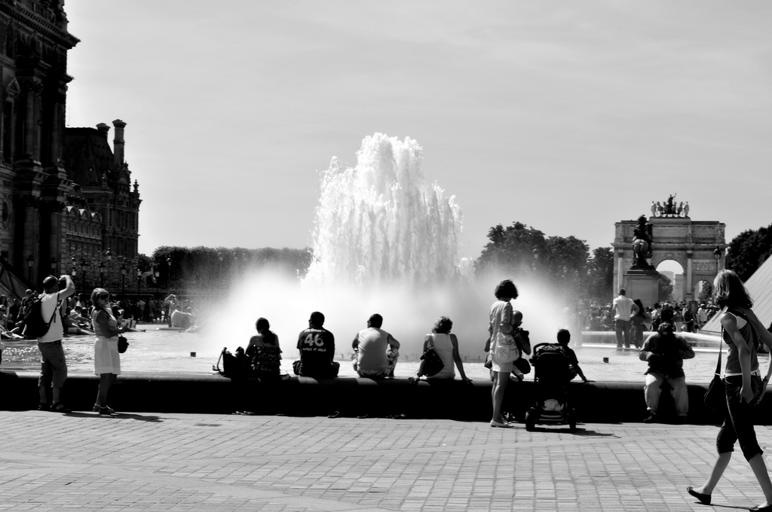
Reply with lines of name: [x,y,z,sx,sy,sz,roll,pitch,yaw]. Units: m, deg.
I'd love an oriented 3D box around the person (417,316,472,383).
person: [1.175,1.894,23.959,1.456,1.493,0.985,3,19,6]

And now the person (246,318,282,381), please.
person: [-2.171,1.608,20.748,0.611,1.042,0.774,0,1,-7]

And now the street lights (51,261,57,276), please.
street lights: [-18.617,0.686,66.265,0.380,0.790,1.091,0,1,-17]

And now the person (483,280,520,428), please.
person: [1.884,1.574,19.115,0.376,2.387,0.532,-1,2,-29]

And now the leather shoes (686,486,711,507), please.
leather shoes: [3.953,3.006,14.955,0.299,0.113,0.165,30,3,31]

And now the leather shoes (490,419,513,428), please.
leather shoes: [1.886,2.717,19.324,0.356,0.129,0.127,2,1,-19]

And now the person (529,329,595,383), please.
person: [2.869,1.565,19.164,1.088,0.729,0.829,11,8,6]

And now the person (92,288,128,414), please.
person: [-4.756,1.604,20.295,0.542,2.120,1.016,0,2,-13]

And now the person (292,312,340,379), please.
person: [-1.202,1.529,20.568,0.797,1.132,0.477,1,2,30]

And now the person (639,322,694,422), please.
person: [4.728,1.923,19.965,0.839,1.617,0.590,1,2,13]

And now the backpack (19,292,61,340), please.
backpack: [-5.967,1.041,20.480,0.621,0.728,0.432,0,2,-14]

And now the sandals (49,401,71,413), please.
sandals: [-5.627,2.606,20.457,0.443,0.163,0.147,-2,-2,24]
